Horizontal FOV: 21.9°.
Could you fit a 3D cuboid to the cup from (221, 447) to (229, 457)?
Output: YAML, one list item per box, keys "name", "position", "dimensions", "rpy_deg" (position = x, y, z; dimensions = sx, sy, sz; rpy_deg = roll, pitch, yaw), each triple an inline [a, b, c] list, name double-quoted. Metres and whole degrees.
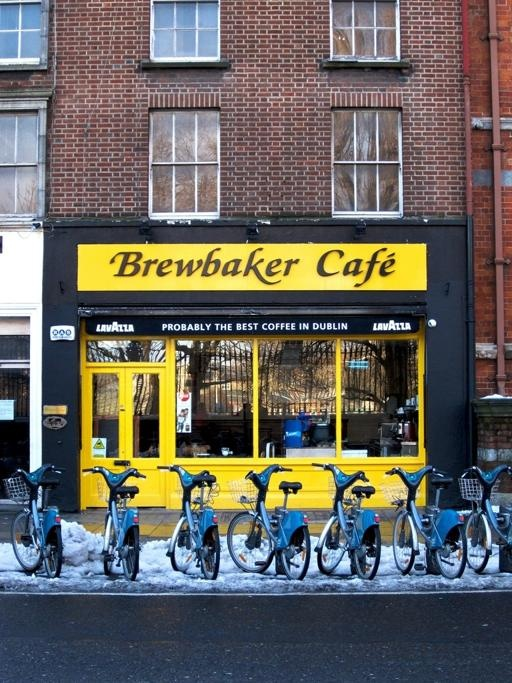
- name: "cup"
  position: [-0.422, 1.523, 18.771]
  dimensions: [0.087, 0.140, 0.106]
  rpy_deg: [-1, -5, 20]

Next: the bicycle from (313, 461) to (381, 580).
- name: "bicycle"
  position: [1.066, 1.998, 14.281]
  dimensions: [0.521, 0.889, 1.193]
  rpy_deg: [3, -8, -16]

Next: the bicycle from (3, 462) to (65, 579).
- name: "bicycle"
  position: [-2.382, 1.934, 14.360]
  dimensions: [0.486, 1.104, 1.067]
  rpy_deg: [-2, 9, -13]

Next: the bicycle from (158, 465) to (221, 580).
- name: "bicycle"
  position: [-0.686, 1.897, 14.403]
  dimensions: [0.587, 1.081, 1.327]
  rpy_deg: [-1, 9, -4]

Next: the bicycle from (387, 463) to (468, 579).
- name: "bicycle"
  position: [1.839, 1.901, 14.293]
  dimensions: [0.580, 1.170, 1.508]
  rpy_deg: [-3, -1, -23]

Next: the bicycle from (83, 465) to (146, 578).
- name: "bicycle"
  position: [-1.478, 1.906, 14.168]
  dimensions: [0.590, 1.123, 0.937]
  rpy_deg: [-3, 9, -17]

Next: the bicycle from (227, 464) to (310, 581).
- name: "bicycle"
  position: [0.161, 1.880, 14.227]
  dimensions: [1.108, 1.192, 0.436]
  rpy_deg: [1, -3, 41]
